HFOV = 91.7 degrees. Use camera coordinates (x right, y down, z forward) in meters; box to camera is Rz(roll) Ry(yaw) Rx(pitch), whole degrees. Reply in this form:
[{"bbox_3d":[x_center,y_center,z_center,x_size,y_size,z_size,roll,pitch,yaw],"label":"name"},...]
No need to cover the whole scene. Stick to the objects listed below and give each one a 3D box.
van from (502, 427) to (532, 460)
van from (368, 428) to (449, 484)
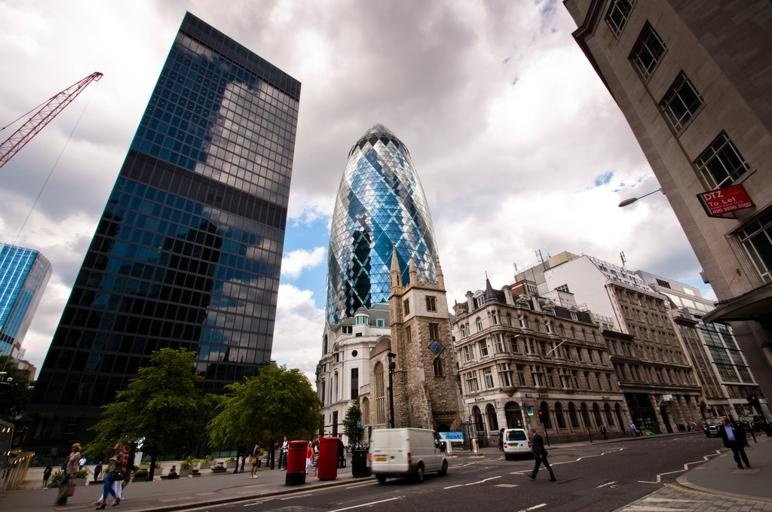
[{"bbox_3d":[10.909,15.888,31.653,1.723,1.502,3.026,-5,-22,13],"label":"van"},{"bbox_3d":[1.578,13.000,24.499,3.252,2.542,5.472,-18,-35,21],"label":"van"}]
